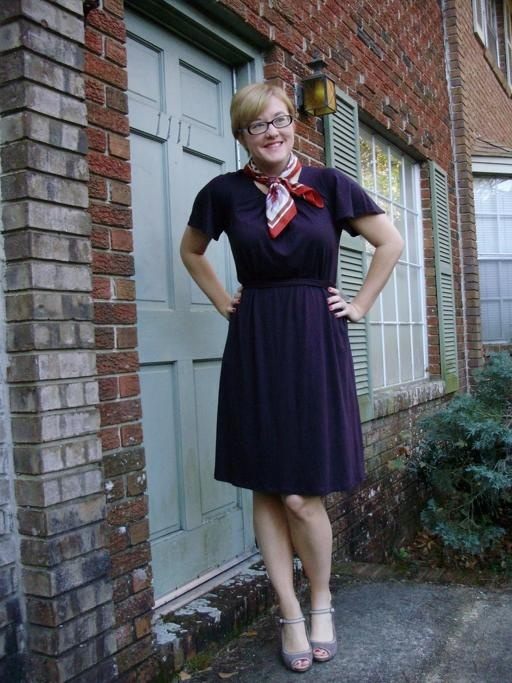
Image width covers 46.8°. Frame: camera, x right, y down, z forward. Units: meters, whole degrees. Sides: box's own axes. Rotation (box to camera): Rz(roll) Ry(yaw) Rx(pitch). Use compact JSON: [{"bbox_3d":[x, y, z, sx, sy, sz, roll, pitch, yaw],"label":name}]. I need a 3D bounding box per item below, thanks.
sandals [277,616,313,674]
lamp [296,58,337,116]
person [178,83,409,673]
[{"bbox_3d":[0.114,0.889,1.691,0.060,0.079,0.184,0,36,0],"label":"sandals"},{"bbox_3d":[0.319,-1.310,3.014,0.208,0.258,0.219,-1,5,20],"label":"lamp"},{"bbox_3d":[0.064,0.091,1.782,0.685,1.419,0.313,4,-2,12],"label":"person"}]
